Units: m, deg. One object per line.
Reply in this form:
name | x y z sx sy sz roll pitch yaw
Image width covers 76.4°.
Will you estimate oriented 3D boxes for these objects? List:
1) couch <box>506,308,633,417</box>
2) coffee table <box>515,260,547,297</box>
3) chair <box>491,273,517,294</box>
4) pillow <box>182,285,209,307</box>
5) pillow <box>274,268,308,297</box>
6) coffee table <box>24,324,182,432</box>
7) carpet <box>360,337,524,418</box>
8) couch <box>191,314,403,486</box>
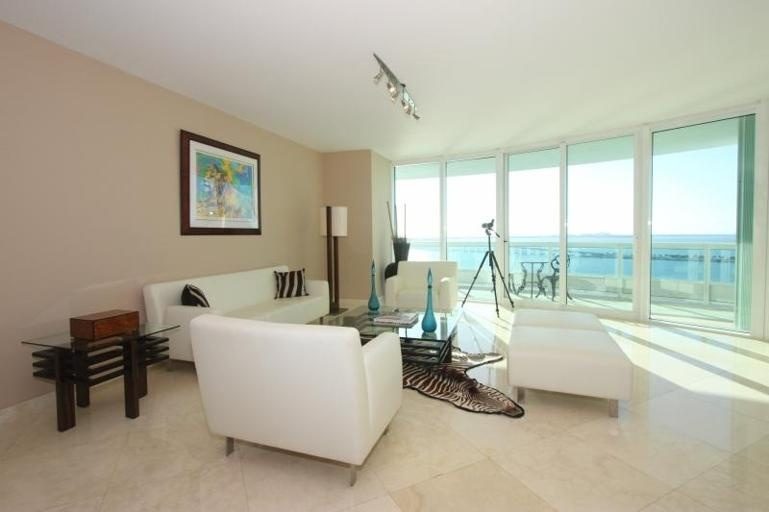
couch | 1.841 1.097 5.079 1.092 0.792 1.043 -1 4 14
coffee table | 2.406 0.388 8.176 0.502 0.601 0.508 2 -1 12
chair | 2.019 0.455 8.236 0.260 0.342 0.242 -4 -6 35
pillow | -2.150 0.454 5.563 0.397 0.248 0.252 0 4 27
pillow | -1.351 0.404 7.021 0.365 0.347 0.128 -4 -20 -22
coffee table | -2.784 0.995 4.878 1.030 0.850 1.163 2 1 19
carpet | 0.713 1.167 5.053 0.670 0.231 1.606 -7 6 -28
couch | -0.674 0.844 4.357 1.666 1.412 1.336 0 3 21
